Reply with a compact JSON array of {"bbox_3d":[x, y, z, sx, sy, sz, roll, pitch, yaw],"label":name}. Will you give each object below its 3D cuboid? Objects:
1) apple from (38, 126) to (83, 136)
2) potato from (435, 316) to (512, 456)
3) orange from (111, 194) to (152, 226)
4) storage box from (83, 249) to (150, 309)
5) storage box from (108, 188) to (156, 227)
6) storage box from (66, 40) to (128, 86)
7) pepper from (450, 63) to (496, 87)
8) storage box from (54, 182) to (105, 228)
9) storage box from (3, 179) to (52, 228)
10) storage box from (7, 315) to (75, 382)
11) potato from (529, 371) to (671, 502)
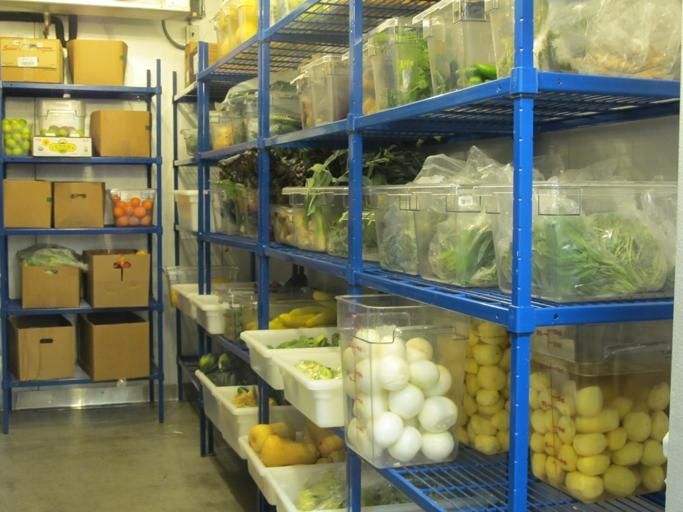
[{"bbox_3d":[-1.956,-0.870,4.147,0.273,0.081,0.064,-3,7,-15],"label":"apple"},{"bbox_3d":[0.403,0.388,1.803,0.113,0.355,0.254,2,3,4],"label":"potato"},{"bbox_3d":[-1.530,-0.334,4.330,0.254,0.181,0.209,-2,2,-13],"label":"orange"},{"bbox_3d":[-1.594,0.130,4.210,0.387,0.360,0.393,0,2,-27],"label":"storage box"},{"bbox_3d":[-1.502,-0.344,4.251,0.294,0.231,0.241,-3,5,-19],"label":"storage box"},{"bbox_3d":[-1.761,-1.381,4.255,0.401,0.300,0.334,0,-2,-16],"label":"storage box"},{"bbox_3d":[0.336,-0.456,1.504,0.056,0.076,0.104,-3,2,-26],"label":"pepper"},{"bbox_3d":[-1.840,-0.362,4.123,0.292,0.293,0.103,-1,4,-21],"label":"storage box"},{"bbox_3d":[-2.189,-0.368,4.167,0.308,0.321,0.315,-3,5,-29],"label":"storage box"},{"bbox_3d":[-2.095,0.642,4.157,0.433,0.289,0.444,3,2,-15],"label":"storage box"},{"bbox_3d":[0.624,0.395,1.578,0.313,0.325,0.321,1,0,-19],"label":"potato"}]
